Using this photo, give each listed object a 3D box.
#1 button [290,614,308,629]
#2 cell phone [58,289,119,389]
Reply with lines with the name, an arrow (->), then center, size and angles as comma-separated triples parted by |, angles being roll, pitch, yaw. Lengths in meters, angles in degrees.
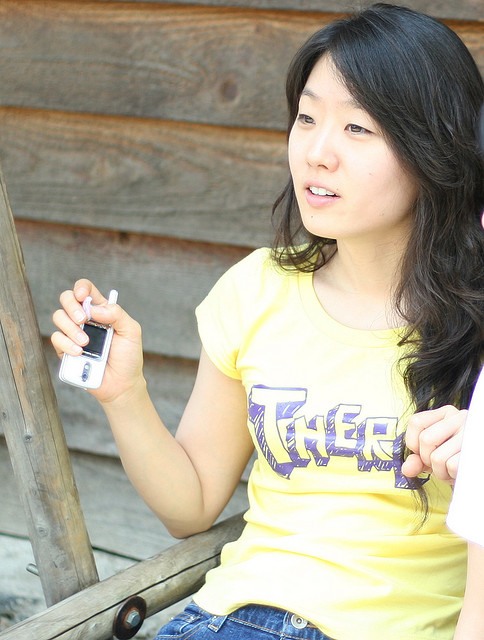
button -> 0.072, 0.388, 0.882 | 0.021, 0.008, 0.012 | 18, 32, 30
cell phone -> -0.222, 0.026, 1.034 | 0.086, 0.149, 0.039 | 17, -3, 0
